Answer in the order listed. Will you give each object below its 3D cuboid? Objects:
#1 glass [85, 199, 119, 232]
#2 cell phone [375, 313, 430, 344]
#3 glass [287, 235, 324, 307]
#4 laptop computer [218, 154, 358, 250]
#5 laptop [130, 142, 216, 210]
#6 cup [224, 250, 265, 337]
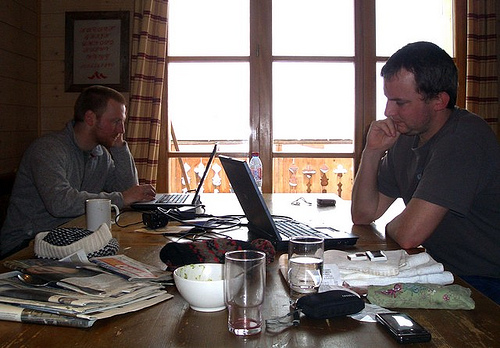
[{"bbox_3d":[-0.612,0.167,1.492,0.171,0.166,0.107,4,-3,-27],"label":"glass"},{"bbox_3d":[0.347,0.351,0.855,0.071,0.026,0.103,-4,10,-17],"label":"cell phone"},{"bbox_3d":[0.158,0.264,1.066,0.101,0.165,0.100,-2,1,1],"label":"glass"},{"bbox_3d":[0.075,0.102,1.558,0.304,0.467,0.435,-20,1,-41],"label":"laptop computer"},{"bbox_3d":[-0.455,0.006,2.299,0.552,0.338,0.597,1,4,4],"label":"laptop"},{"bbox_3d":[-0.007,0.272,0.877,0.100,0.170,0.106,-1,10,0],"label":"cup"}]
